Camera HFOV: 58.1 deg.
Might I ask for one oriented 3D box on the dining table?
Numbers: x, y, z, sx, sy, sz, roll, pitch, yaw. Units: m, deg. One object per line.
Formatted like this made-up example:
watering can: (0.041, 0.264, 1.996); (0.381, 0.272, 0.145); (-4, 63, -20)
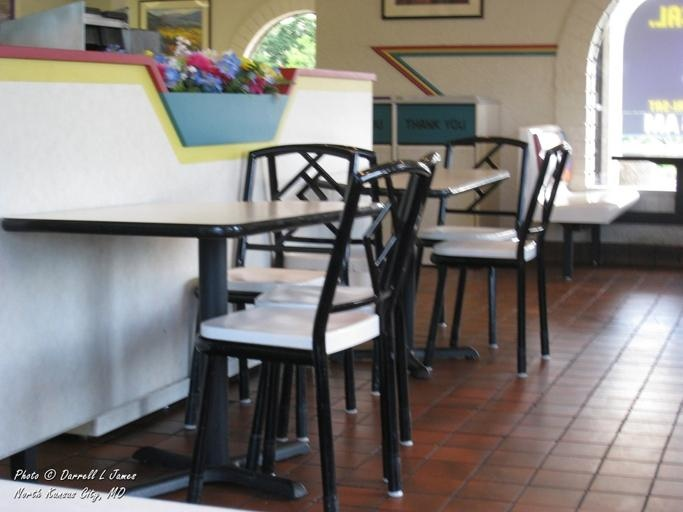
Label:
dining table: (-0.530, 0.285, 2.418); (1.097, 0.990, 1.100); (1, 3, 24)

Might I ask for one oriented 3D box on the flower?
flower: (-0.648, -0.935, 3.113); (0.243, 0.294, 0.859); (5, 10, 30)

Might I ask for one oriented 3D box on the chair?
chair: (0.159, 0.299, 2.766); (0.678, 1.153, 1.825); (2, 4, 24)

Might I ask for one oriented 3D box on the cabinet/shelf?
cabinet/shelf: (1.015, -1.112, 6.854); (1.303, 1.206, 0.766); (7, 15, 29)

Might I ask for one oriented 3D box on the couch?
couch: (2.668, -0.654, 6.868); (0.977, 1.504, 2.338); (4, 11, 26)
